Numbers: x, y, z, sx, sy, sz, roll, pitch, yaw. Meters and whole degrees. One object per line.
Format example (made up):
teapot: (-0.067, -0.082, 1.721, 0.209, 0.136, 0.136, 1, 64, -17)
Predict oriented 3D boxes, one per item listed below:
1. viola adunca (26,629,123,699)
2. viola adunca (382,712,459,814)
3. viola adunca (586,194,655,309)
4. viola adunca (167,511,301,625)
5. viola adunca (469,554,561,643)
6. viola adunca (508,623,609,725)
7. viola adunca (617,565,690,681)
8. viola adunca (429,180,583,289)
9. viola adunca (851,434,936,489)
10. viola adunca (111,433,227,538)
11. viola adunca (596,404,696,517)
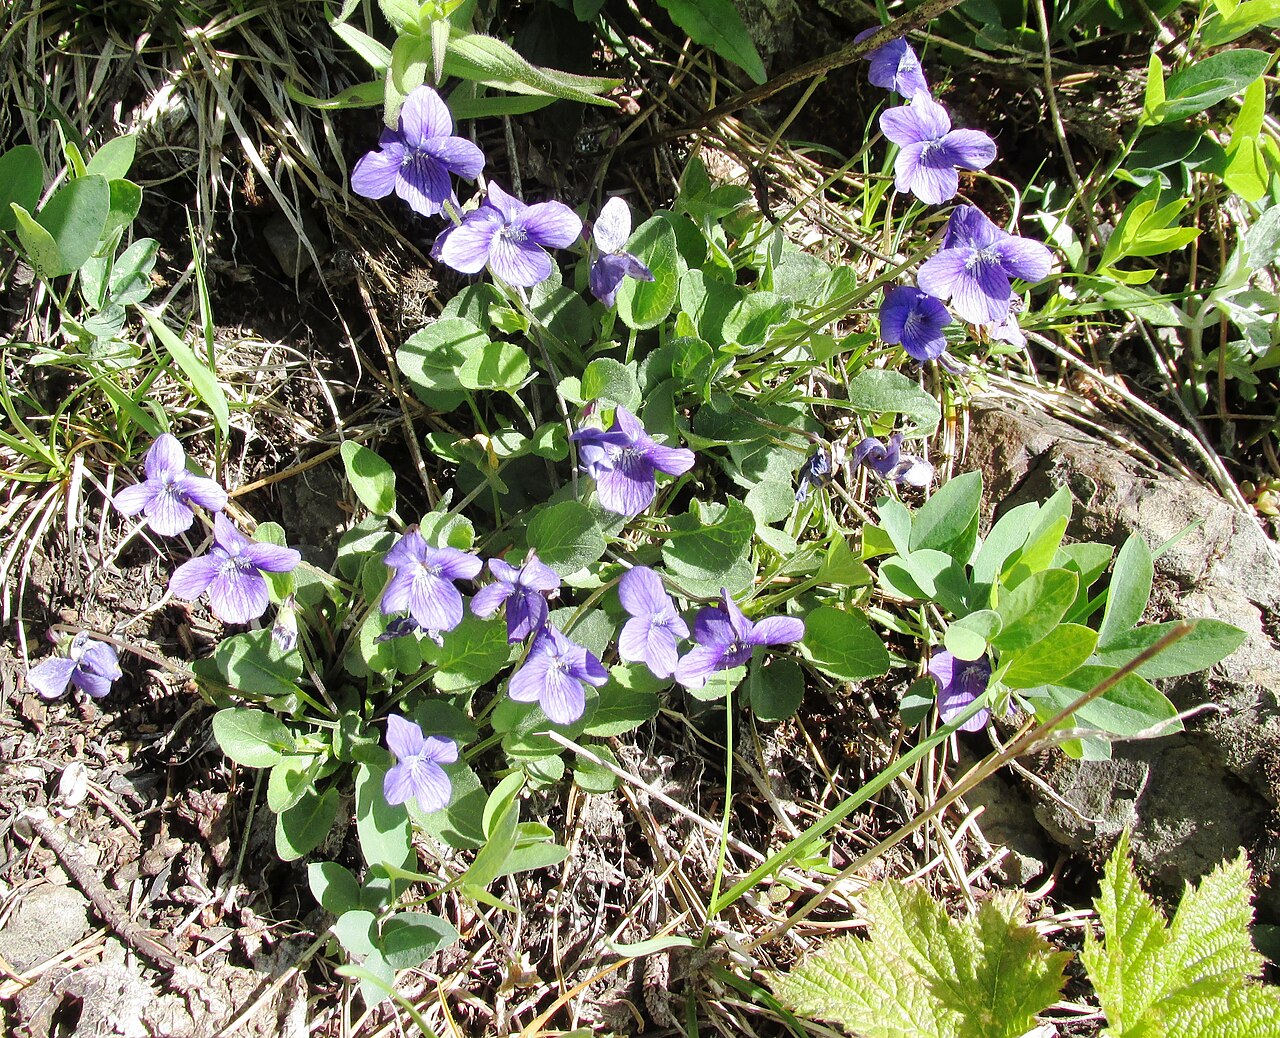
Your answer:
viola adunca: (-1.332, 0.345, 2.863, 0.167, 0.123, 0.183, -5, 79, -2)
viola adunca: (-0.487, 0.550, 2.655, 0.141, 0.195, 0.151, 3, 53, 3)
viola adunca: (-0.053, -0.655, 2.951, 0.065, 0.230, 0.213, 10, 52, 36)
viola adunca: (-0.919, 0.128, 2.745, 0.226, 0.188, 0.201, 23, 57, 16)
viola adunca: (-0.277, 0.139, 2.717, 0.185, 0.204, 0.073, -10, 72, -21)
viola adunca: (-0.184, 0.309, 2.662, 0.210, 0.094, 0.294, 10, 11, 24)
viola adunca: (0.034, 0.274, 2.796, 0.162, 0.300, 0.206, 2, 53, 2)
viola adunca: (-0.274, -0.668, 2.819, 0.340, 0.230, 0.083, 13, 89, 49)
viola adunca: (0.659, -0.159, 3.149, 0.069, 0.158, 0.155, -40, 22, -27)
viola adunca: (-1.108, -0.089, 2.768, 0.165, 0.252, 0.081, -33, 64, 14)
viola adunca: (0.001, -0.137, 2.852, 0.214, 0.237, 0.105, 21, 14, -18)
